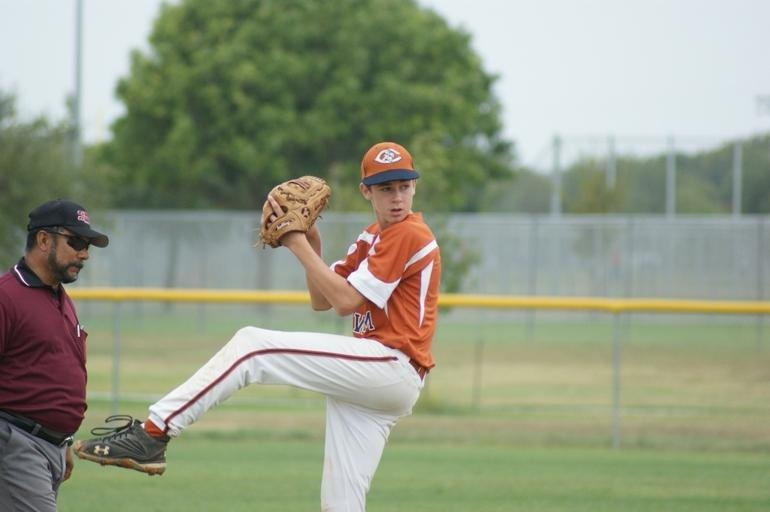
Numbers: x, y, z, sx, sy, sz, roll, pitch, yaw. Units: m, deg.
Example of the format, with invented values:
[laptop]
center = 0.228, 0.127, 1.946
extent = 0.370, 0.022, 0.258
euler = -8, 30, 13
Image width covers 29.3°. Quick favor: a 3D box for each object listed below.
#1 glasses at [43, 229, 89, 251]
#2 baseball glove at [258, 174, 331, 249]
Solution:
[glasses]
center = -2.640, -0.128, 12.267
extent = 0.254, 0.069, 0.189
euler = 13, 3, 16
[baseball glove]
center = -0.774, -0.386, 12.203
extent = 0.649, 0.478, 0.262
euler = -40, -19, -11
